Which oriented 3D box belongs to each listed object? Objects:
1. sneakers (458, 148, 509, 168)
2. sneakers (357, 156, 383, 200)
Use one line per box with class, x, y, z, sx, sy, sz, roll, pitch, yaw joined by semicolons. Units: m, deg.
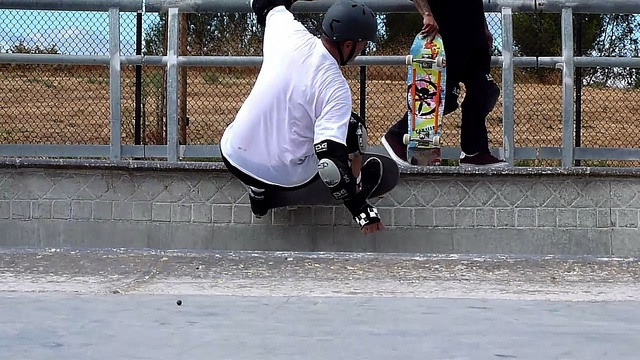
sneakers;1.616;-0.214;10.906;0.495;0.168;0.174;1;4;9
sneakers;0.481;-0.031;10.447;0.234;0.404;0.179;15;12;-23
